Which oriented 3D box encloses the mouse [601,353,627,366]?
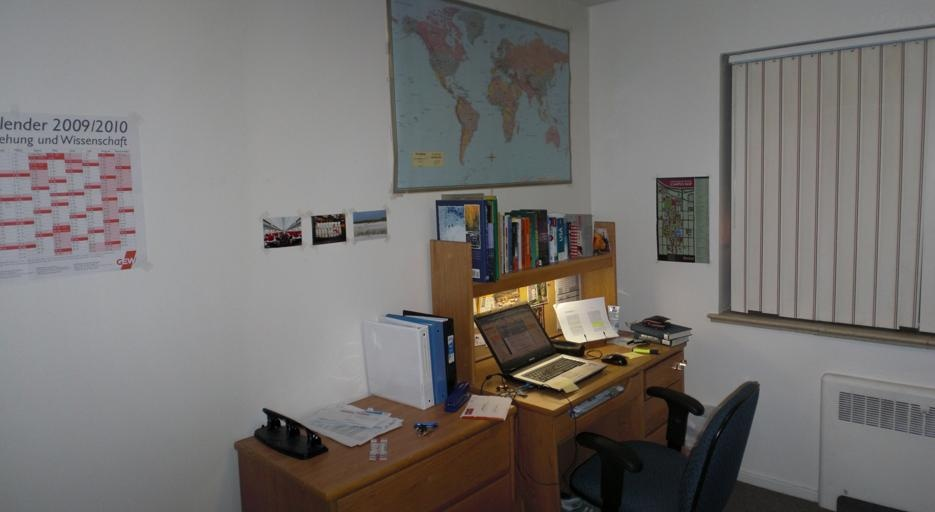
[{"bbox_3d":[1.104,0.770,4.259,0.144,0.049,0.085,-1,6,37],"label":"mouse"}]

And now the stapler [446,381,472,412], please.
[{"bbox_3d":[-0.058,0.937,3.802,0.078,0.088,0.250,2,11,21],"label":"stapler"}]

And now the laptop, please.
[{"bbox_3d":[0.496,0.605,4.108,0.731,0.320,0.597,7,14,41],"label":"laptop"}]
